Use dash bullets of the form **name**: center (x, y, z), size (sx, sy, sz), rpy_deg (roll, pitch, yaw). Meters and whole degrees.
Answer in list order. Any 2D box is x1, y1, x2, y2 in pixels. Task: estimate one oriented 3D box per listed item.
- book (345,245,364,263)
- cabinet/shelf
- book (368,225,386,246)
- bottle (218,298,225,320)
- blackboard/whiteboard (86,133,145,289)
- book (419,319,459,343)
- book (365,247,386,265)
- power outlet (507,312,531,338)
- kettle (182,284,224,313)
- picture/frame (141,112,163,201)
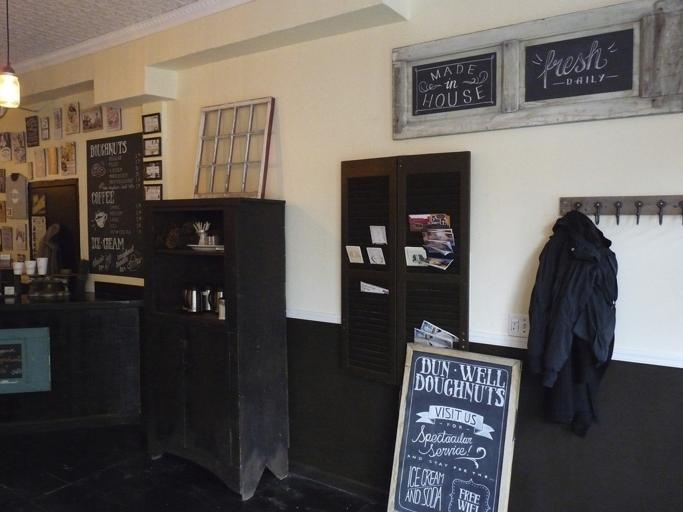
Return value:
- **book**: center (0.094, -0.013, 3.758), size (0.120, 0.124, 0.012), rpy_deg (3, 18, 41)
- **cabinet/shelf**: center (-0.959, 0.612, 4.121), size (1.123, 2.153, 0.664), rpy_deg (6, 10, 32)
- **book**: center (0.249, -0.136, 3.639), size (0.118, 0.123, 0.028), rpy_deg (-2, 3, 33)
- **bottle**: center (-0.886, 0.383, 3.878), size (0.050, 0.178, 0.288), rpy_deg (-2, 9, -15)
- **blackboard/whiteboard**: center (-2.195, -0.485, 5.116), size (0.865, 1.371, 0.152), rpy_deg (6, 10, 31)
- **book**: center (0.643, 0.496, 3.488), size (0.258, 0.119, 0.010), rpy_deg (5, 10, 26)
- **book**: center (0.240, -0.002, 3.668), size (0.119, 0.123, 0.012), rpy_deg (2, 15, 40)
- **power outlet**: center (1.116, 0.433, 3.303), size (0.171, 0.204, 0.020), rpy_deg (-1, -2, 35)
- **kettle**: center (-1.111, 0.335, 4.167), size (0.279, 0.211, 0.203), rpy_deg (1, 1, 23)
- **picture/frame**: center (-1.711, -0.903, 4.772), size (0.246, 0.773, 0.066), rpy_deg (7, 11, 37)
